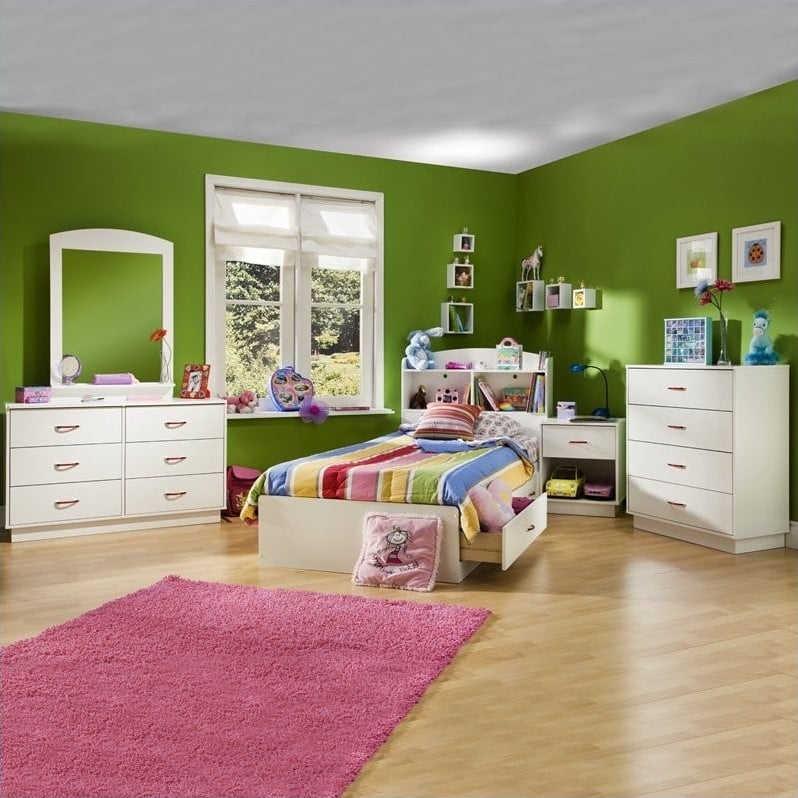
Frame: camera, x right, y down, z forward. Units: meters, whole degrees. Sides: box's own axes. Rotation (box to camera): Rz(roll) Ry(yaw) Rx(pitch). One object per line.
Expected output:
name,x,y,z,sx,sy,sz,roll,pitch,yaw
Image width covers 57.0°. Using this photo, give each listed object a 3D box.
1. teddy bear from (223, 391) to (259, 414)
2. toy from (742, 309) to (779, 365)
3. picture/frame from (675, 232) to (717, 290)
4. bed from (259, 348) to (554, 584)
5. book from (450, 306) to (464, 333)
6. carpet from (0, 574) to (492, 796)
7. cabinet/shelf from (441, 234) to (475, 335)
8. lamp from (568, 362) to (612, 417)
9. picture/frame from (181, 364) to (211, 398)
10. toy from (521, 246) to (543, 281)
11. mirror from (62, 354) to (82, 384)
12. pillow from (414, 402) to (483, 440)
teddy bear,-1.128,0.021,5.259,0.226,0.146,0.186,-1,3,-12
toy,2.027,-0.345,4.119,0.170,0.307,0.140,1,3,11
picture/frame,1.848,-0.857,4.607,0.029,0.330,0.314,-1,3,-24
bed,0.306,0.288,4.209,1.301,0.938,1.610,2,5,26
book,0.450,-0.642,6.007,0.155,0.202,0.049,0,-7,-42
carpet,-0.600,0.895,2.469,1.575,0.039,1.482,0,3,6
cabinet/shelf,0.487,-0.951,5.991,0.364,0.873,0.145,-2,4,-30
lamp,1.404,-0.079,5.455,0.272,0.392,0.509,1,3,12
picture/frame,-1.362,-0.118,4.911,0.256,0.290,0.022,0,-5,-14
toy,1.071,-1.113,6.030,0.151,0.279,0.271,-1,3,-20
mirror,-2.093,-0.185,4.679,0.115,0.183,0.053,-1,4,-25
pillow,0.299,0.160,4.859,0.286,0.083,0.293,1,21,11
